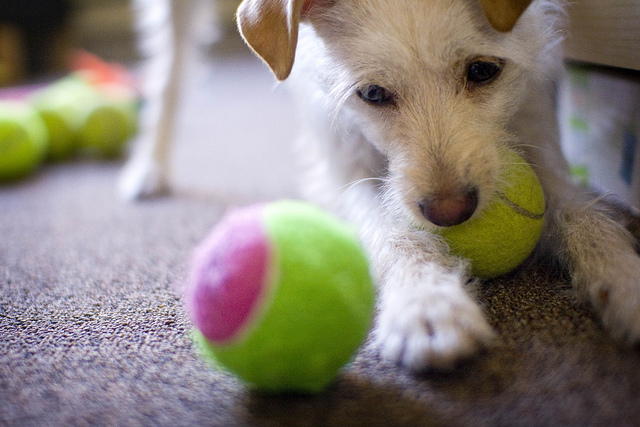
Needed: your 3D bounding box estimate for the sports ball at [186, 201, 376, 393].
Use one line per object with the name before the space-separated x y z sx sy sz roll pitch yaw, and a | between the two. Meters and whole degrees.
sports ball | -0.099 0.229 1.824 0.538 0.561 0.588 -2 76 9
